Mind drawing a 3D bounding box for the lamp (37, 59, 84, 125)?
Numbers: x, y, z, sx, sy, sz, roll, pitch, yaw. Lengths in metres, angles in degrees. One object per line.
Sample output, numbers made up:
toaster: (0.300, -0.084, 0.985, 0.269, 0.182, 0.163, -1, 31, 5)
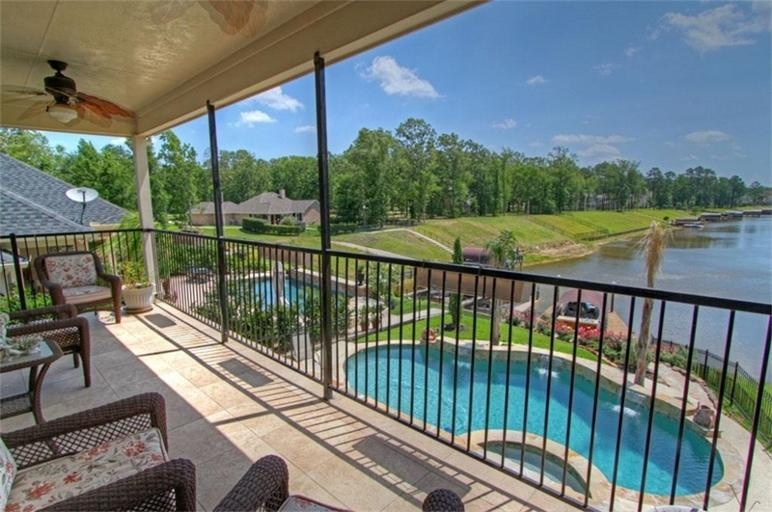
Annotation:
lamp: (-5.306, -2.754, 7.971, 0.544, 0.901, 0.502, 3, 9, 3)

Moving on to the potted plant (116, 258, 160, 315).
potted plant: (-4.796, 0.607, 9.480, 0.785, 0.914, 0.778, 0, 3, 14)

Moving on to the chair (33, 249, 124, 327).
chair: (-5.335, 0.548, 8.507, 1.081, 1.142, 1.330, -7, 13, -39)
